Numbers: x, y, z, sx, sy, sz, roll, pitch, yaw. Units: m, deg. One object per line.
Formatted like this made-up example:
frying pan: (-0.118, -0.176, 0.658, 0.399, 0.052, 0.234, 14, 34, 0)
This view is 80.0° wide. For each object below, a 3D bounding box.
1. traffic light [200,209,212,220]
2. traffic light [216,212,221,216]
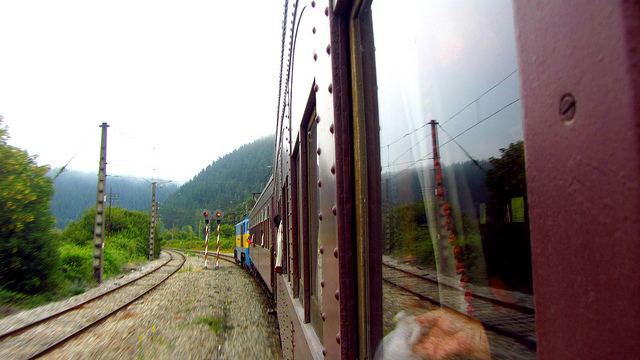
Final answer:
traffic light: (-4.963, 1.471, 16.656, 0.436, 0.571, 1.340, 0, -13, -17)
traffic light: (-4.659, 1.545, 17.394, 0.177, 0.121, 0.282, -3, -12, -5)
